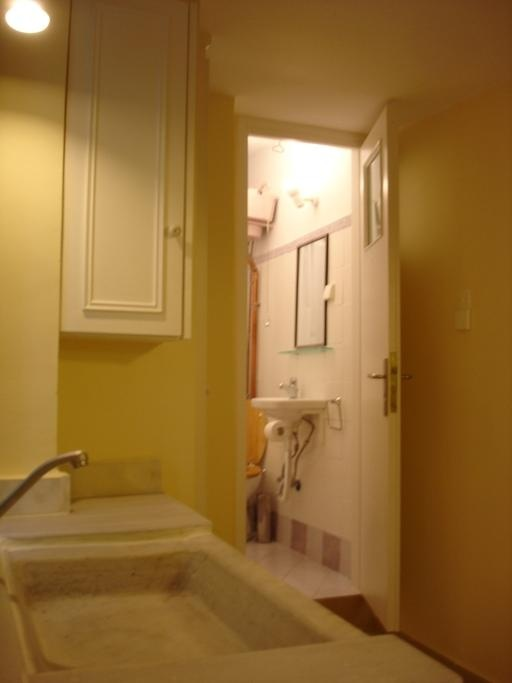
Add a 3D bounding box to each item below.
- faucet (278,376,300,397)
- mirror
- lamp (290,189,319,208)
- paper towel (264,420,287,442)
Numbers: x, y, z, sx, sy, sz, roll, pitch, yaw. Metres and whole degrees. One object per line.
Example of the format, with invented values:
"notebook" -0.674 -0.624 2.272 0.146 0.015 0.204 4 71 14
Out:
"faucet" 0.217 0.301 3.602 0.135 0.174 0.087 8 -7 -35
"mirror" 0.345 -0.308 3.427 0.028 0.900 0.562 3 -5 -18
"lamp" 0.302 -0.900 3.528 0.141 0.120 0.128 5 6 0
"paper towel" 0.103 0.535 3.333 0.105 0.119 0.164 0 -8 -22
